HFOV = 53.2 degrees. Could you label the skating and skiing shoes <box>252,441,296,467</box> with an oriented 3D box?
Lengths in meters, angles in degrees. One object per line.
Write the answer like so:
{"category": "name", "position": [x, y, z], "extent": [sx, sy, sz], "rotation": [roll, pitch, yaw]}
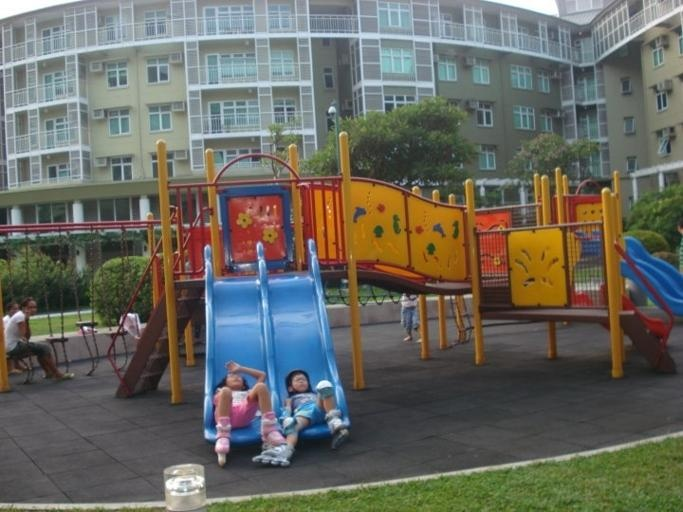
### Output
{"category": "skating and skiing shoes", "position": [-0.772, 2.311, 7.983], "extent": [0.495, 0.206, 0.253], "rotation": [0, 34, 12]}

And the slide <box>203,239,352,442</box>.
{"category": "slide", "position": [-0.984, 1.345, 9.562], "extent": [1.324, 1.238, 2.862], "rotation": [-4, 31, -7]}

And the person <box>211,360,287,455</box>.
{"category": "person", "position": [-1.169, 1.873, 8.502], "extent": [0.873, 1.125, 0.925], "rotation": [2, 3, -12]}

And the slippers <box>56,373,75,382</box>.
{"category": "slippers", "position": [-5.450, 2.388, 13.412], "extent": [0.286, 0.141, 0.112], "rotation": [-5, 5, -8]}
